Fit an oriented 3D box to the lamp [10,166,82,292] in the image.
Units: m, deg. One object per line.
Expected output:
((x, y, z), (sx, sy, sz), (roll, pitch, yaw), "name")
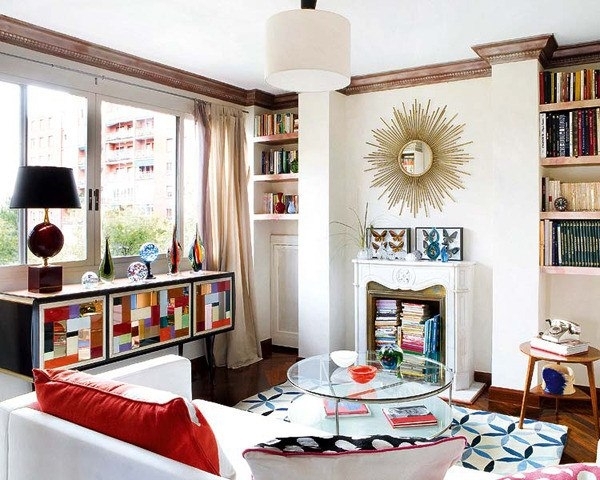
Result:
((-1.742, -0.075, 3.261), (0.397, 0.860, 0.287), (0, 2, -13), "lamp")

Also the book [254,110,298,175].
((-0.178, -1.038, 5.295), (0.576, 0.663, 0.659), (1, 3, 11), "book")

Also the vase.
((0.616, -0.085, 4.791), (0.554, 0.568, 0.531), (15, -17, -37), "vase")

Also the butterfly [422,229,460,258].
((1.331, 0.031, 4.430), (0.231, 0.211, 0.024), (-12, -30, 27), "butterfly")

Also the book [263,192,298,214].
((-0.198, -0.406, 5.177), (0.466, 0.233, 0.189), (3, 3, 43), "book")

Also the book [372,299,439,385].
((0.902, 0.830, 3.931), (0.518, 0.533, 0.174), (1, 0, 33), "book")

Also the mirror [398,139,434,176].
((1.141, -0.806, 4.606), (0.342, 0.424, 0.051), (2, 1, 32), "mirror")

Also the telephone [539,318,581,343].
((1.898, 0.648, 3.430), (0.190, 0.146, 0.274), (1, 0, -25), "telephone")
